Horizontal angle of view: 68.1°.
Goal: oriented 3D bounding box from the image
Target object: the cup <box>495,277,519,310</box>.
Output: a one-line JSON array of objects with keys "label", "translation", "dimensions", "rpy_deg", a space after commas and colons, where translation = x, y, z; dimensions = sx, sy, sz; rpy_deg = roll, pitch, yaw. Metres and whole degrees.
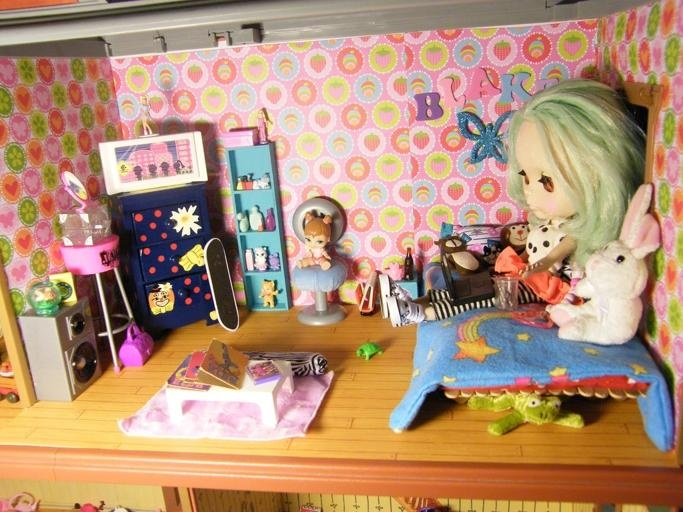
[{"label": "cup", "translation": [0.901, 0.191, 2.830], "dimensions": [0.174, 0.175, 0.158], "rpy_deg": [-2, 16, 1]}]
